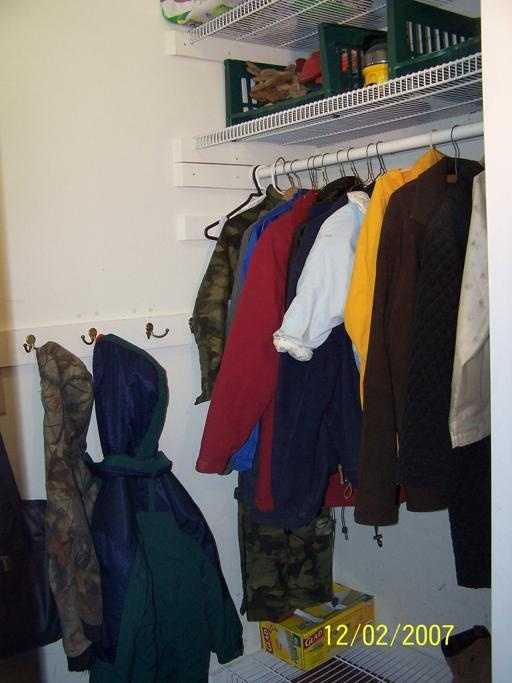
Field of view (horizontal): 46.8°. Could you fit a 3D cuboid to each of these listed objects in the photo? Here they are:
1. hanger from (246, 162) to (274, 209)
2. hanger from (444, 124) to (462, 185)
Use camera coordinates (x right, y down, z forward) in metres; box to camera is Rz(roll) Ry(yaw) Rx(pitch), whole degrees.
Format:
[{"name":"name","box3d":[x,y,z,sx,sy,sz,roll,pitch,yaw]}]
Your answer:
[{"name":"hanger","box3d":[0.004,-0.443,1.672,0.034,0.130,0.099,-7,-8,-5]},{"name":"hanger","box3d":[0.405,-0.375,1.212,0.028,0.119,0.430,-4,10,20]}]
